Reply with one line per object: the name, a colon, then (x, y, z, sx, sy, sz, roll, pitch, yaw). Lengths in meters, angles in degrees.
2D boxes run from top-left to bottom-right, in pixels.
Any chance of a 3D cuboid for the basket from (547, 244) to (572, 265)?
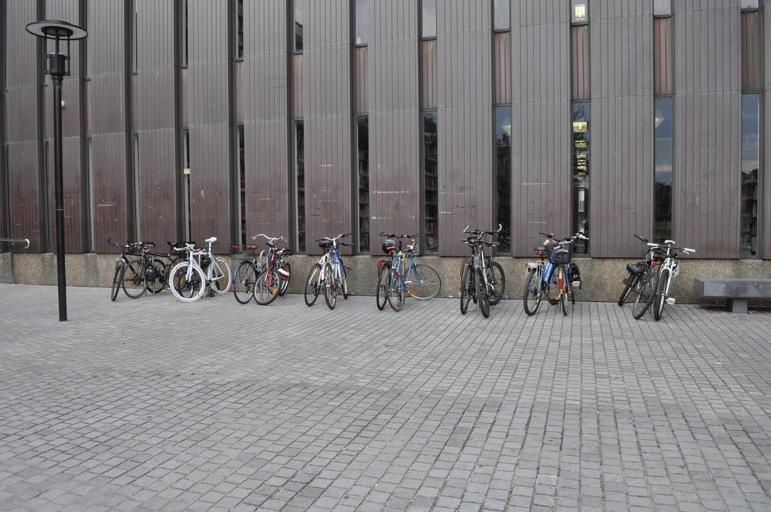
basket: (3.510, -0.014, 14.060, 0.487, 0.414, 0.374, -2, -1, -21)
